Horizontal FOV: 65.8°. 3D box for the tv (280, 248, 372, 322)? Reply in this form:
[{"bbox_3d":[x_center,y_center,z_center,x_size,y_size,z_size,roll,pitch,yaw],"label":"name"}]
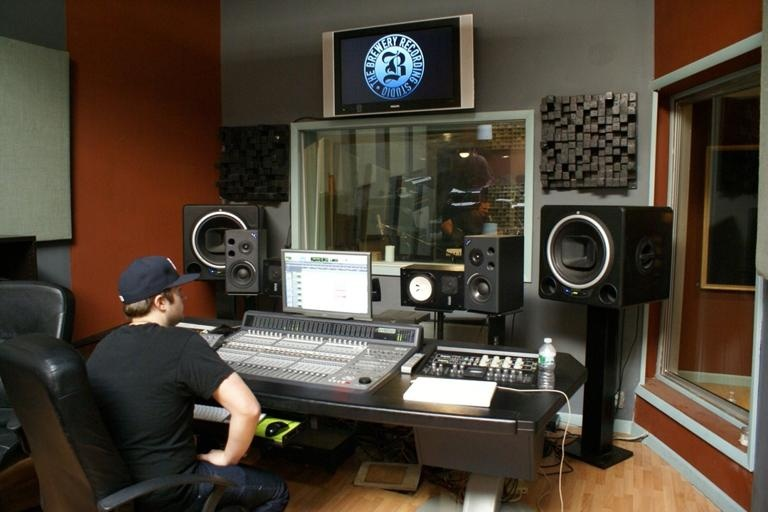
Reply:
[{"bbox_3d":[-0.357,0.195,3.782,0.427,0.317,0.048,1,1,18],"label":"tv"}]

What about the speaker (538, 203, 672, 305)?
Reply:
[{"bbox_3d":[1.486,0.010,3.994,0.680,0.631,0.674,-1,2,-42],"label":"speaker"}]

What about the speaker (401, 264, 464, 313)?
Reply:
[{"bbox_3d":[0.324,0.216,3.988,0.478,0.349,0.279,1,3,31],"label":"speaker"}]

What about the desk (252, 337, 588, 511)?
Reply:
[{"bbox_3d":[0.284,0.864,3.227,1.635,0.473,0.669,-1,8,10],"label":"desk"}]

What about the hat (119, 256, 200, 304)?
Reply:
[{"bbox_3d":[-1.099,0.126,2.907,0.304,0.161,0.196,-23,14,-30],"label":"hat"}]

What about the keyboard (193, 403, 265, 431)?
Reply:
[{"bbox_3d":[-0.916,0.878,3.321,0.265,0.085,0.267,-4,6,-31],"label":"keyboard"}]

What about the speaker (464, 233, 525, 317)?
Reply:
[{"bbox_3d":[0.744,0.121,3.927,0.447,0.523,0.277,-3,8,-5],"label":"speaker"}]
